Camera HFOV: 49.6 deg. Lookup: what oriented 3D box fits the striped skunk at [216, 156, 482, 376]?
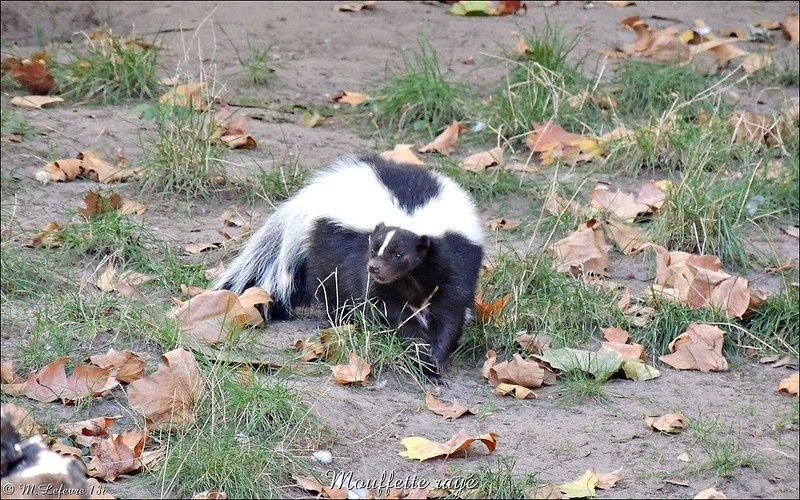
[{"bbox_3d":[-0.259,-0.177,7.609,3.196,1.753,1.798,6,33,6],"label":"striped skunk"}]
